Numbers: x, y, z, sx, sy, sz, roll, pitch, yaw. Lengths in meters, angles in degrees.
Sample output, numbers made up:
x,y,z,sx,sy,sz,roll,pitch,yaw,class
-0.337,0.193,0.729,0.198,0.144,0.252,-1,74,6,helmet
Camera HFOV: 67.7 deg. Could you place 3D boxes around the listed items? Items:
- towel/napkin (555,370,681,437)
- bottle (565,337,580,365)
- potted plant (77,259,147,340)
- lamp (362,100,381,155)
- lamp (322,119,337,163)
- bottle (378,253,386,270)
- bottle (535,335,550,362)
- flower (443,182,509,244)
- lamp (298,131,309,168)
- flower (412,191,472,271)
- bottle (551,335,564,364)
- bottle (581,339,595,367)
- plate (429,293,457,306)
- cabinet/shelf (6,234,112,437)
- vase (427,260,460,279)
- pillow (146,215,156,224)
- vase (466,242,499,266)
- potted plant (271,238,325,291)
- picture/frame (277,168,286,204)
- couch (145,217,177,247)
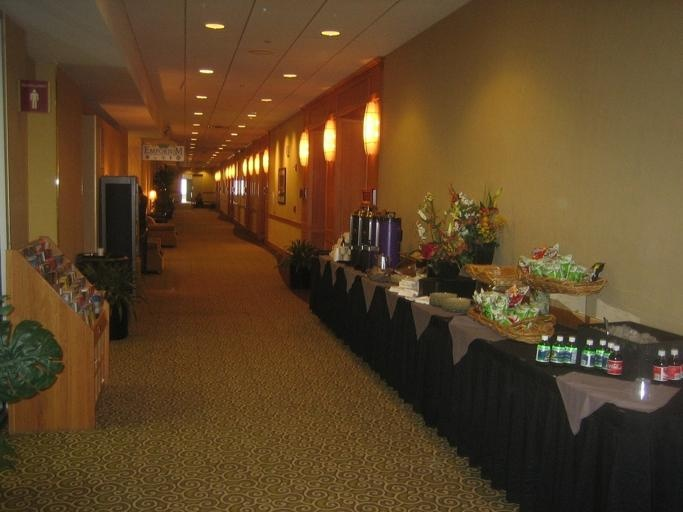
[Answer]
x,y,z,sx,sy,sz,roll,pitch,yaw,class
1.328,0.725,2.505,0.355,0.301,0.517,-5,10,-44,towel/napkin
1.287,0.520,2.849,0.061,0.162,0.138,4,7,27,bottle
-2.604,0.338,6.182,0.967,1.174,0.847,-1,2,-26,potted plant
0.416,-1.808,7.108,0.161,0.783,0.352,0,6,-16,lamp
-0.204,-2.093,9.126,0.195,0.733,0.390,1,6,-5,lamp
0.414,0.064,5.222,0.105,0.199,0.111,0,-2,0,bottle
1.140,0.518,2.873,0.085,0.147,0.080,1,6,0,bottle
1.116,-0.362,4.454,0.472,0.679,0.471,1,1,-4,flower
-0.806,-2.346,11.090,0.170,0.765,0.482,0,6,-10,lamp
0.914,-0.231,4.564,0.598,0.783,0.654,0,7,-1,flower
1.200,0.520,2.834,0.059,0.150,0.042,3,6,14,bottle
1.365,0.533,2.821,0.067,0.130,0.159,4,7,27,bottle
0.794,0.331,4.031,0.130,0.055,0.126,0,2,-22,plate
-2.116,0.642,3.811,0.526,1.309,1.257,-1,7,-13,cabinet/shelf
0.868,0.108,4.339,0.161,0.116,0.174,0,4,-9,vase
-5.277,-1.019,14.095,0.153,0.198,1.731,-1,8,-21,pillow
1.176,-0.023,4.290,0.173,0.171,0.210,1,-1,7,vase
-0.752,0.167,8.692,0.784,0.915,0.850,1,4,-1,potted plant
-1.652,-1.971,14.133,0.063,1.022,0.940,2,5,-16,picture/frame
-4.925,-0.646,14.065,0.815,1.057,1.260,-1,7,-11,couch
